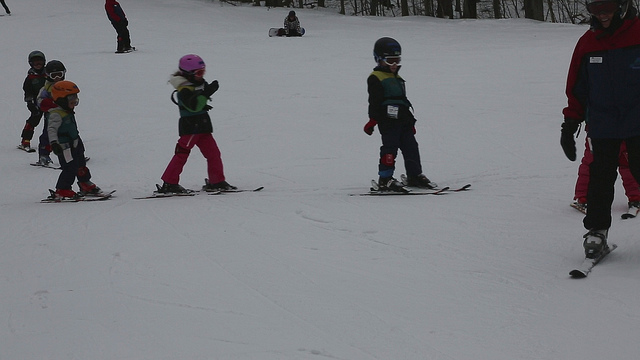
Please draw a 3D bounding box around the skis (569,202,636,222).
[{"bbox_3d":[3.899,0.458,8.706,0.749,0.274,0.225,-7,7,25],"label":"skis"}]

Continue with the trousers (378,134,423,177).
[{"bbox_3d":[1.295,-0.383,10.315,0.853,0.883,0.332,-4,2,-33],"label":"trousers"}]

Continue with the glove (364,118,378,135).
[{"bbox_3d":[0.782,-0.842,9.959,0.098,0.247,0.163,37,2,-22],"label":"glove"}]

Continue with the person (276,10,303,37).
[{"bbox_3d":[-0.956,-5.112,20.721,0.949,0.804,0.561,-1,23,-25],"label":"person"}]

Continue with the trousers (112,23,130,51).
[{"bbox_3d":[-5.938,-4.285,19.028,0.399,0.762,0.574,-10,18,-14],"label":"trousers"}]

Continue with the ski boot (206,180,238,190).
[{"bbox_3d":[-1.588,0.078,10.315,0.466,0.177,0.163,0,1,-3],"label":"ski boot"}]

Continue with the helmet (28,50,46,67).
[{"bbox_3d":[-5.348,-2.285,11.969,0.245,0.278,0.306,-15,20,-29],"label":"helmet"}]

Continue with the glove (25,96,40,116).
[{"bbox_3d":[-5.638,-1.453,12.467,0.195,0.432,0.336,-13,19,-22],"label":"glove"}]

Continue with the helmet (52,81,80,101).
[{"bbox_3d":[-3.970,-1.396,9.895,0.412,0.346,0.285,-3,16,-13],"label":"helmet"}]

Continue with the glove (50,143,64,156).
[{"bbox_3d":[-4.073,-0.478,9.853,0.162,0.229,0.185,-13,19,-24],"label":"glove"}]

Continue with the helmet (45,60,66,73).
[{"bbox_3d":[-4.559,-1.939,10.844,0.305,0.234,0.213,-11,17,7],"label":"helmet"}]

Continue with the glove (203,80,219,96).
[{"bbox_3d":[-1.687,-1.443,9.888,0.236,0.234,0.072,37,-8,33],"label":"glove"}]

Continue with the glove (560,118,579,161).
[{"bbox_3d":[2.992,-0.486,7.613,0.186,0.535,0.284,3,20,26],"label":"glove"}]

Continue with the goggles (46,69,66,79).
[{"bbox_3d":[-4.487,-1.800,10.812,0.273,0.122,0.175,-10,18,-18],"label":"goggles"}]

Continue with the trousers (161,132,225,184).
[{"bbox_3d":[-2.164,-0.342,10.834,1.080,0.910,0.405,0,5,-31],"label":"trousers"}]

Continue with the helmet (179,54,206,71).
[{"bbox_3d":[-1.998,-1.832,9.906,0.335,0.177,0.246,0,16,5],"label":"helmet"}]

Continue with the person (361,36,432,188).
[{"bbox_3d":[1.136,-1.021,10.002,0.921,2.355,0.763,-14,20,-25],"label":"person"}]

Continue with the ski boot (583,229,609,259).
[{"bbox_3d":[3.234,0.748,7.448,0.271,0.299,0.183,-2,18,9],"label":"ski boot"}]

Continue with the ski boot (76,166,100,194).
[{"bbox_3d":[-3.709,0.028,10.271,0.480,0.425,0.189,-1,14,19],"label":"ski boot"}]

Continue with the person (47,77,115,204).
[{"bbox_3d":[-3.899,-0.607,10.202,1.244,1.911,1.096,7,13,24],"label":"person"}]

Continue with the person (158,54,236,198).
[{"bbox_3d":[-2.004,-0.828,9.929,1.029,2.150,0.610,-10,18,-12],"label":"person"}]
